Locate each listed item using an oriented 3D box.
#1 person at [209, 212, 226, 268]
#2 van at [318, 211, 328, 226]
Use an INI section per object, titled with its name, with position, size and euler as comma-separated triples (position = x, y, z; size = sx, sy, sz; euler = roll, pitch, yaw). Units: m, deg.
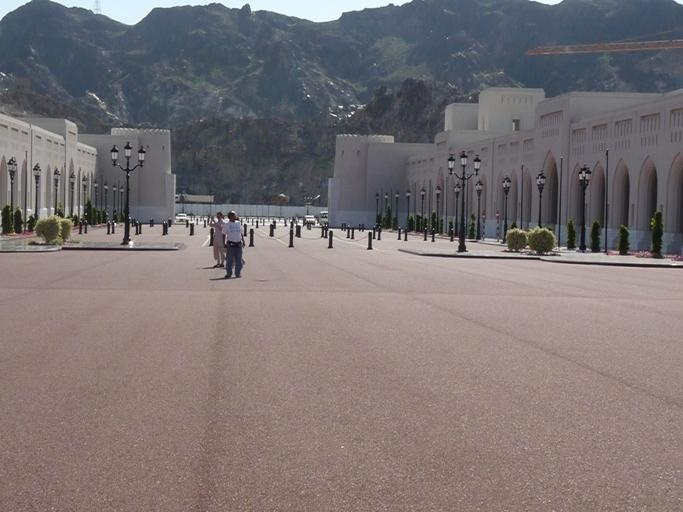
[person]
position = -4.677, -0.621, 26.072
size = 0.472, 2.057, 0.460
euler = -1, 1, -37
[van]
position = -2.961, -6.471, 114.757
size = 1.984, 1.848, 3.225
euler = 1, 9, -2
